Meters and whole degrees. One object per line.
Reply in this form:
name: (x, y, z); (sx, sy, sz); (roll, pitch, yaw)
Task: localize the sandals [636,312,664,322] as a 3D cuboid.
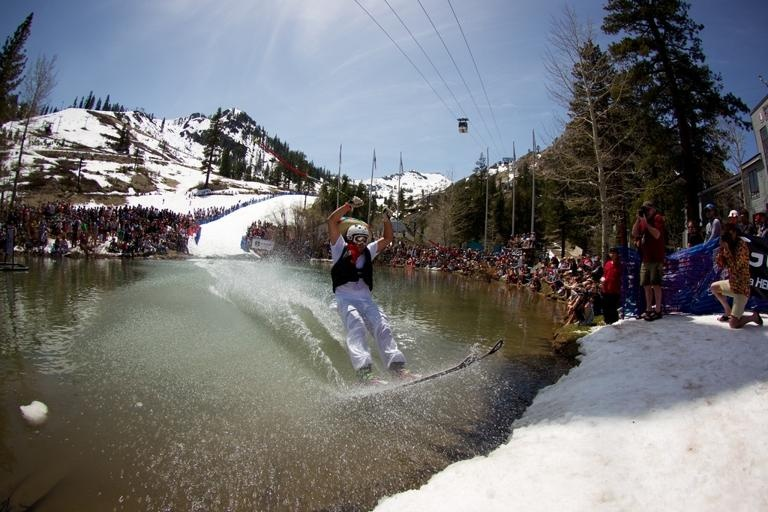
sandals: (5.966, 1.287, 9.240); (0.511, 0.242, 0.198); (1, 1, 25)

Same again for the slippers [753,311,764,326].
slippers: (7.471, 1.211, 8.199); (0.091, 0.269, 0.082); (1, -12, -35)

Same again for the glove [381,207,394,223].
glove: (0.119, -0.864, 8.504); (0.253, 0.280, 0.165); (0, 6, 44)
